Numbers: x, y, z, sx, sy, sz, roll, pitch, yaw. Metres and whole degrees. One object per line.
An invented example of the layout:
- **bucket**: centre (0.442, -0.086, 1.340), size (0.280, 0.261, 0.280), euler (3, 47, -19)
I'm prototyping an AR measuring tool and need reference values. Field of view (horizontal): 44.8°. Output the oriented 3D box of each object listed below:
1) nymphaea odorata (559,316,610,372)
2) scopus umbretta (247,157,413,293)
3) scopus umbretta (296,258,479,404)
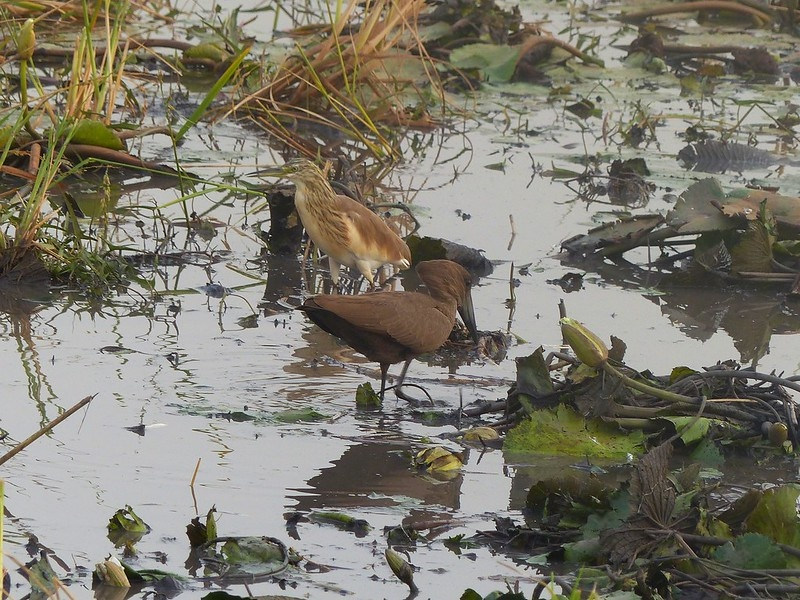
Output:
- **nymphaea odorata**: centre (0.954, 0.229, 5.029), size (0.178, 0.269, 0.308), euler (10, 7, 43)
- **scopus umbretta**: centre (-0.296, -0.494, 6.890), size (1.026, 0.968, 0.817), euler (19, 29, 41)
- **scopus umbretta**: centre (-0.045, 0.158, 5.754), size (0.555, 0.813, 1.183), euler (8, 5, 24)
